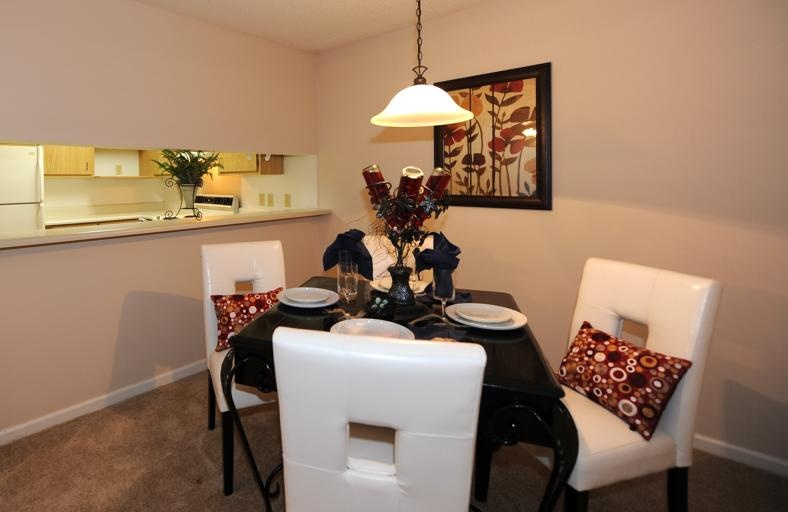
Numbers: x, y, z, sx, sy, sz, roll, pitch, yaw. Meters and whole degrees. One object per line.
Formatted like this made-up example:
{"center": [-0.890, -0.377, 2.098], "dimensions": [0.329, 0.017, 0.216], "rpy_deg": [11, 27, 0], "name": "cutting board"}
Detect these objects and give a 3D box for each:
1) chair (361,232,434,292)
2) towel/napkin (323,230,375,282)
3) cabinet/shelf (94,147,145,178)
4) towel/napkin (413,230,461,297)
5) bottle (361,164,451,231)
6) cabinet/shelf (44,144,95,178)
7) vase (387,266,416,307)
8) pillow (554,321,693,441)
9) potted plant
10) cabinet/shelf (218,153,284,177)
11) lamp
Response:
{"center": [-0.003, 0.035, 3.534], "dimensions": [0.378, 0.302, 0.417], "rpy_deg": [0, -1, 0], "name": "chair"}
{"center": [-0.332, -0.040, 3.171], "dimensions": [0.368, 0.184, 0.354], "rpy_deg": [-16, -6, 1], "name": "towel/napkin"}
{"center": [-3.136, -1.050, 5.892], "dimensions": [0.100, 0.311, 0.531], "rpy_deg": [6, 12, 31], "name": "cabinet/shelf"}
{"center": [0.292, 0.029, 2.972], "dimensions": [0.290, 0.309, 0.229], "rpy_deg": [-4, 3, -16], "name": "towel/napkin"}
{"center": [0.070, -0.330, 2.982], "dimensions": [0.396, 0.312, 0.391], "rpy_deg": [5, 7, -1], "name": "bottle"}
{"center": [-3.331, -0.960, 5.286], "dimensions": [0.197, 0.251, 0.356], "rpy_deg": [8, 8, 25], "name": "cabinet/shelf"}
{"center": [0.035, 0.182, 3.132], "dimensions": [0.180, 0.210, 0.188], "rpy_deg": [1, 4, 12], "name": "vase"}
{"center": [1.188, 0.662, 3.019], "dimensions": [0.777, 0.242, 0.641], "rpy_deg": [15, 35, 41], "name": "pillow"}
{"center": [-1.878, -0.653, 4.686], "dimensions": [0.449, 0.432, 0.430], "rpy_deg": [1, 1, 7], "name": "potted plant"}
{"center": [-1.446, -0.933, 5.293], "dimensions": [0.764, 0.216, 0.308], "rpy_deg": [8, 13, 37], "name": "cabinet/shelf"}
{"center": [0.171, -1.383, 3.658], "dimensions": [0.659, 0.963, 1.667], "rpy_deg": [-1, 11, -3], "name": "lamp"}
